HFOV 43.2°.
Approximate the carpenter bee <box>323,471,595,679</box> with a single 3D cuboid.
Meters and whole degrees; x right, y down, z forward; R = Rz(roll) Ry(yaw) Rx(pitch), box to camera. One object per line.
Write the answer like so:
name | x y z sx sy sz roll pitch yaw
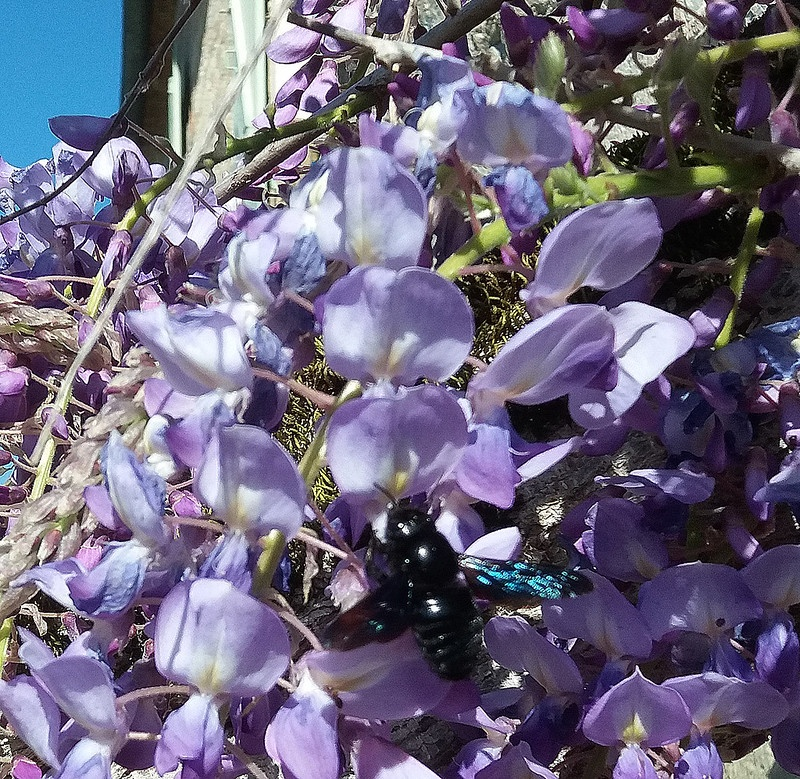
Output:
carpenter bee | 0.039 0.141 0.746 0.197 0.160 0.073 -3 21 -10
